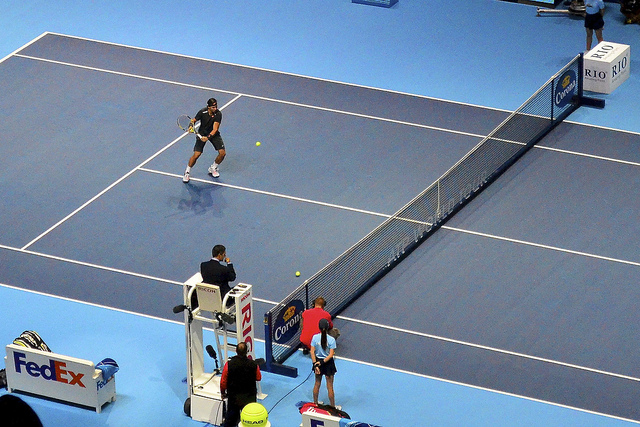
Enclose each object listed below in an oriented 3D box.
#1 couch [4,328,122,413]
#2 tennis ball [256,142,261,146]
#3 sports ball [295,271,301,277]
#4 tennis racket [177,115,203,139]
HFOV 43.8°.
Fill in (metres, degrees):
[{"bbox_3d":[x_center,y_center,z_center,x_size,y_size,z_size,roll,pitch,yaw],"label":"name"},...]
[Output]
[{"bbox_3d":[-5.509,3.543,16.951,2.323,1.404,0.747,5,1,14],"label":"couch"},{"bbox_3d":[-1.918,-2.167,24.992,0.140,0.097,0.121,4,1,-5],"label":"tennis ball"},{"bbox_3d":[-0.555,1.576,20.387,0.146,0.134,0.116,5,1,36],"label":"sports ball"},{"bbox_3d":[-4.192,-2.650,25.167,0.088,0.613,1.876,6,23,-30],"label":"tennis racket"}]
